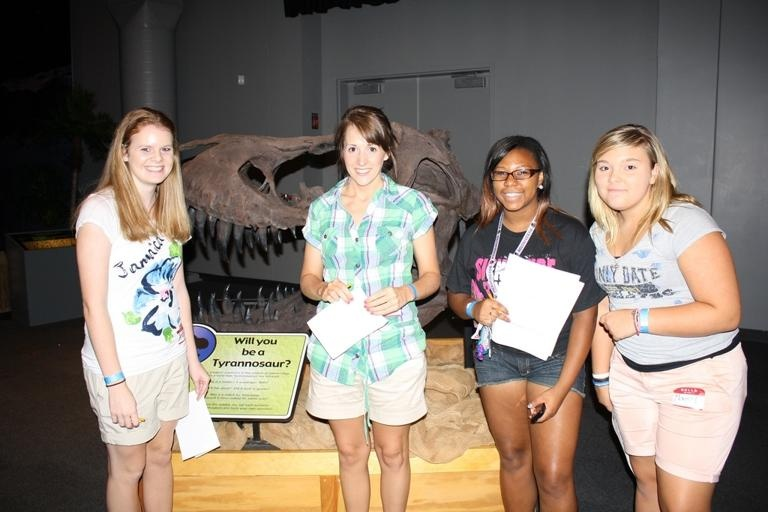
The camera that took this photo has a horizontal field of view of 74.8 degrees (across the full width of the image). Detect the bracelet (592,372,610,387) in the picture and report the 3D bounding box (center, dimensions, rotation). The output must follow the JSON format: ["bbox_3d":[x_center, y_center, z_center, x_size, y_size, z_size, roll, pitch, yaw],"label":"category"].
[{"bbox_3d":[1.348,0.765,3.141,0.081,0.065,0.083,-4,-7,35],"label":"bracelet"}]

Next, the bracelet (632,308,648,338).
[{"bbox_3d":[1.438,0.360,2.820,0.091,0.119,0.043,-1,-7,23],"label":"bracelet"}]

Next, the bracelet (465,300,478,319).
[{"bbox_3d":[0.562,0.341,3.221,0.041,0.101,0.076,15,45,26],"label":"bracelet"}]

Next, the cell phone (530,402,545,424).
[{"bbox_3d":[0.922,0.940,3.034,0.090,0.122,0.031,2,9,12],"label":"cell phone"}]

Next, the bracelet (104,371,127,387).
[{"bbox_3d":[-1.550,0.702,2.895,0.124,0.095,0.089,-2,9,-13],"label":"bracelet"}]

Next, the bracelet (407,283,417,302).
[{"bbox_3d":[0.171,0.231,3.062,0.030,0.086,0.061,-4,11,-21],"label":"bracelet"}]

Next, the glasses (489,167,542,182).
[{"bbox_3d":[0.822,-0.500,3.109,0.295,0.083,0.093,1,9,7],"label":"glasses"}]
